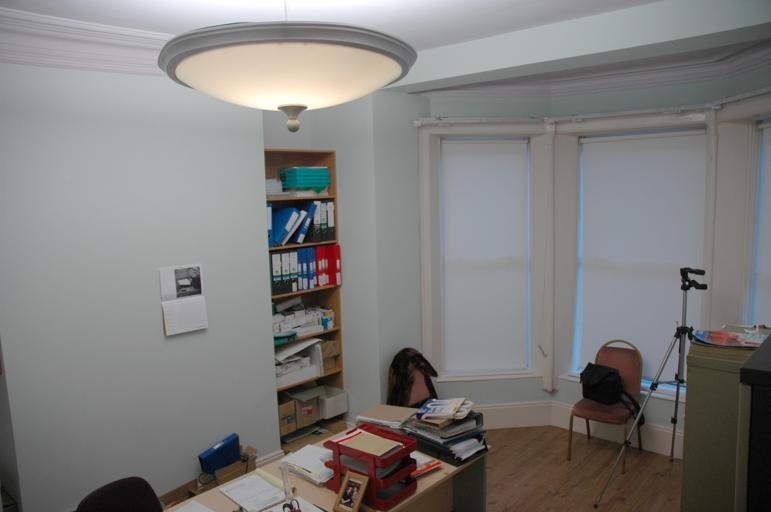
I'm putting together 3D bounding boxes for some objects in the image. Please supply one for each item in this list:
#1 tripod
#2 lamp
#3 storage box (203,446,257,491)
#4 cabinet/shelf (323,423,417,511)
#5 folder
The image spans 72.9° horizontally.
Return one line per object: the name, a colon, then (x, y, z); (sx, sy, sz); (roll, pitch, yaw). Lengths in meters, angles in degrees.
tripod: (2.547, 1.056, 4.903); (0.801, 1.911, 1.475); (0, 7, 32)
lamp: (-0.711, -1.179, 3.433); (1.032, 0.292, 1.054); (-9, -12, 43)
storage box: (-1.339, 1.825, 4.506); (0.376, 0.160, 0.224); (-14, 18, -40)
cabinet/shelf: (-0.082, 1.339, 3.389); (0.524, 0.358, 0.441); (0, 1, 39)
folder: (-0.834, -0.109, 5.216); (0.932, 0.889, 0.371); (-4, 6, -42)
